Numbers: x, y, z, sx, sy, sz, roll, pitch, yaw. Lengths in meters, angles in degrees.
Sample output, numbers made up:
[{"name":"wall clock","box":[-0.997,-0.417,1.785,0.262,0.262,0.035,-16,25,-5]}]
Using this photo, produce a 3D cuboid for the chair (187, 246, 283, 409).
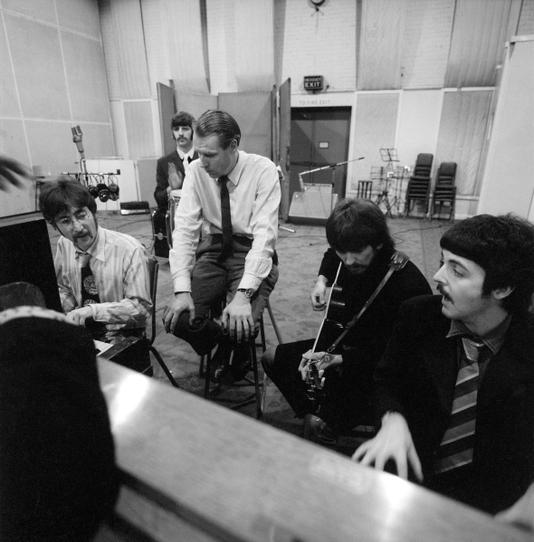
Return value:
[{"name":"chair","box":[-0.218,0.227,2.234,0.563,0.903,0.607,-3,19,-11]}]

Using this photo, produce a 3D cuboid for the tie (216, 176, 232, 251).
[{"name":"tie","box":[-0.203,-0.251,2.105,0.043,0.433,0.056,-2,-10,-4]}]

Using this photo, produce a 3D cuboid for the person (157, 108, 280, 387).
[{"name":"person","box":[-0.252,-0.046,2.073,0.551,1.346,0.766,3,18,9]}]

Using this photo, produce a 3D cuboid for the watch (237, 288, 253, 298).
[{"name":"watch","box":[-0.089,0.091,1.837,0.042,0.029,0.040,8,9,43]}]
